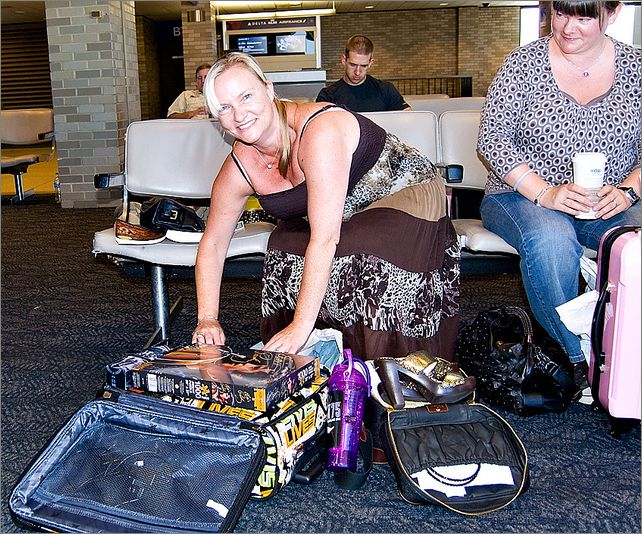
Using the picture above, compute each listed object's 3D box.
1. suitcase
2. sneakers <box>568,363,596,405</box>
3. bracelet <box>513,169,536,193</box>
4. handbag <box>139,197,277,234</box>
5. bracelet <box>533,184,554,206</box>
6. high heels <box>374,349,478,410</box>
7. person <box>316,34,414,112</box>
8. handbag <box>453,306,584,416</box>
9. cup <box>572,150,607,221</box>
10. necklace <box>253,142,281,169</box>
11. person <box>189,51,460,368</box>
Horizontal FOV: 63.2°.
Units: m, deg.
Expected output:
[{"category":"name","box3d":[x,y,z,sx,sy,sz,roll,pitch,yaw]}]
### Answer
[{"category":"suitcase","box3d":[0.317,0.461,1.265,0.326,0.176,0.202,-3,14,-7]},{"category":"sneakers","box3d":[0.835,0.375,1.686,0.049,0.136,0.095,-4,-14,7]},{"category":"bracelet","box3d":[0.693,-0.297,1.808,0.017,0.070,0.066,36,-24,-2]},{"category":"handbag","box3d":[-0.417,-0.187,1.924,0.247,0.094,0.191,4,0,-2]},{"category":"bracelet","box3d":[0.731,-0.242,1.736,0.025,0.069,0.063,30,6,0]},{"category":"high heels","box3d":[0.282,0.300,1.417,0.200,0.088,0.148,-7,13,-15]},{"category":"person","box3d":[0.293,-1.538,4.331,0.886,0.648,0.498,-7,34,-6]},{"category":"handbag","box3d":[0.638,0.310,1.658,0.162,0.197,0.286,13,20,-31]},{"category":"cup","box3d":[0.812,-0.271,1.596,0.088,0.155,0.087,-2,14,0]},{"category":"necklace","box3d":[-0.156,-0.322,1.500,0.052,0.076,0.027,1,10,9]},{"category":"person","box3d":[0.018,-0.153,1.650,0.925,0.979,0.685,-12,21,-30]}]
